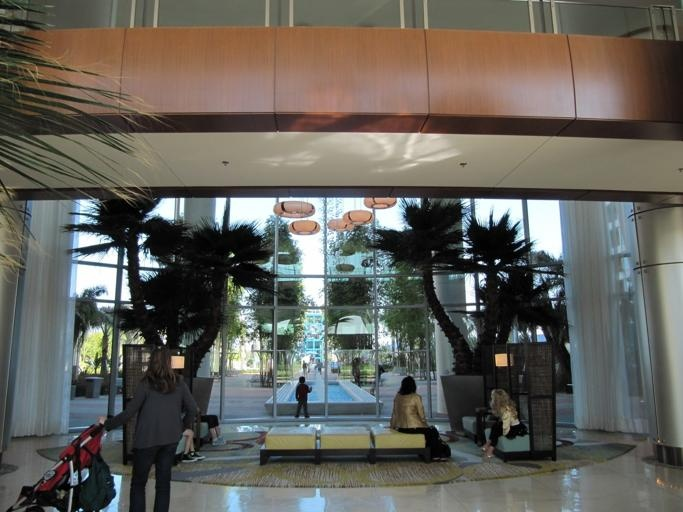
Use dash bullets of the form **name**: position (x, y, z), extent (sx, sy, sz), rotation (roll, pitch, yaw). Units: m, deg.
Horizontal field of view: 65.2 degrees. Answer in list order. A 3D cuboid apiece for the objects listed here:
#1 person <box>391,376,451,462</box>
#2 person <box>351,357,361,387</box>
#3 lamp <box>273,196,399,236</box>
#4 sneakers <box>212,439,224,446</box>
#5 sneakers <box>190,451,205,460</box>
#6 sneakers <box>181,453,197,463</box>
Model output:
- **person**: position (1.326, 2.726, 8.845), extent (0.976, 1.338, 0.596), rotation (8, -19, -22)
- **person**: position (0.437, 3.290, 15.206), extent (0.247, 0.804, 0.077), rotation (0, -9, -3)
- **lamp**: position (-0.082, -0.857, 11.884), extent (2.425, 0.584, 2.180), rotation (-1, -10, 7)
- **sneakers**: position (-2.377, 3.626, 10.367), extent (0.244, 0.106, 0.088), rotation (3, -5, -17)
- **sneakers**: position (-2.350, 3.315, 8.841), extent (0.271, 0.109, 0.099), rotation (6, -8, -15)
- **sneakers**: position (-2.464, 3.305, 8.715), extent (0.255, 0.103, 0.093), rotation (3, -8, -14)
